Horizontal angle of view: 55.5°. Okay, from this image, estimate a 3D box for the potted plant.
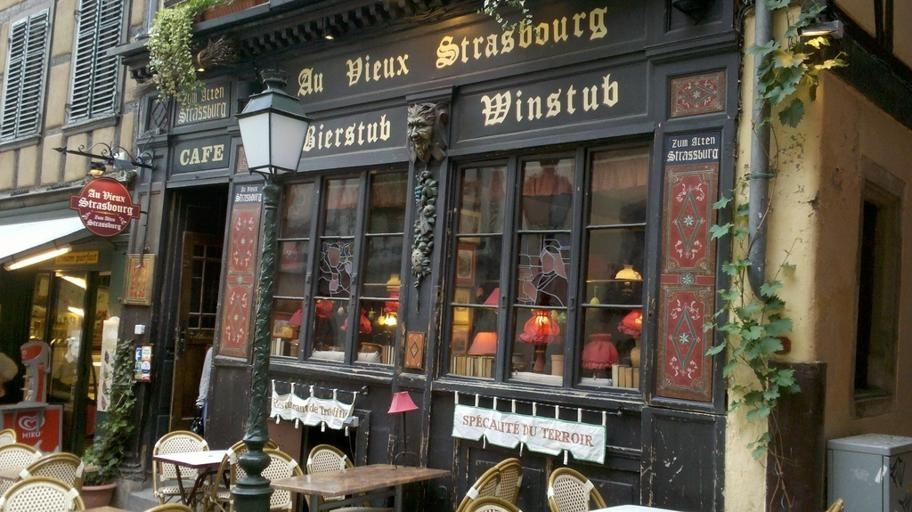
[{"bbox_3d":[-5.820,2.813,14.866,0.716,2.745,0.510,5,-15,-4],"label":"potted plant"}]

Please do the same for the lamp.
[{"bbox_3d":[2.027,0.975,11.718,1.620,1.445,0.396,5,-1,36],"label":"lamp"}]
